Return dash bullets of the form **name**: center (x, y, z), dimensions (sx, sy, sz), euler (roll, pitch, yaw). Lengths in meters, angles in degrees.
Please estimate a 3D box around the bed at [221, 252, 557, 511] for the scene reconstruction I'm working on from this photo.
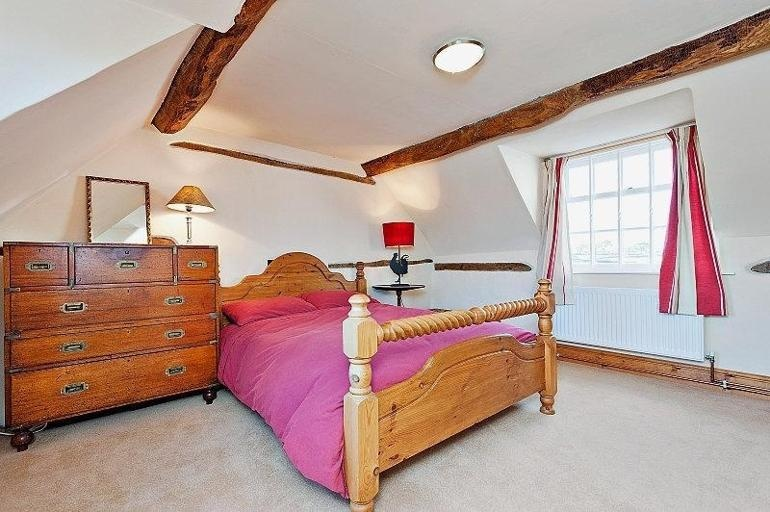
- **bed**: center (-0.142, 0.805, 4.361), dimensions (2.280, 1.702, 2.619), euler (-1, -2, -40)

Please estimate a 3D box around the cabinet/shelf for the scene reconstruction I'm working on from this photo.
- **cabinet/shelf**: center (-2.299, 0.753, 3.788), dimensions (1.704, 1.584, 0.683), euler (0, -1, -35)

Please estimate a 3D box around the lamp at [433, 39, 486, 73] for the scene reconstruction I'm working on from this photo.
- **lamp**: center (0.601, -1.596, 3.758), dimensions (0.417, 0.221, 0.366), euler (-3, -2, 11)

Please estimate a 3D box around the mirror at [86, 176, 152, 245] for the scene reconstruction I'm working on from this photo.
- **mirror**: center (-2.473, -0.431, 4.325), dimensions (0.553, 0.743, 0.024), euler (-1, -30, -28)

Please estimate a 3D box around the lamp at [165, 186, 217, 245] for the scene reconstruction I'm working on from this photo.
- **lamp**: center (-1.884, -0.389, 4.634), dimensions (0.578, 0.643, 0.527), euler (-1, 3, -37)

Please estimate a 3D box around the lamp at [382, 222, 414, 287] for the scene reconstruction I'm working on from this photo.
- **lamp**: center (0.176, -0.035, 5.985), dimensions (0.445, 0.758, 0.425), euler (-1, -1, -32)
